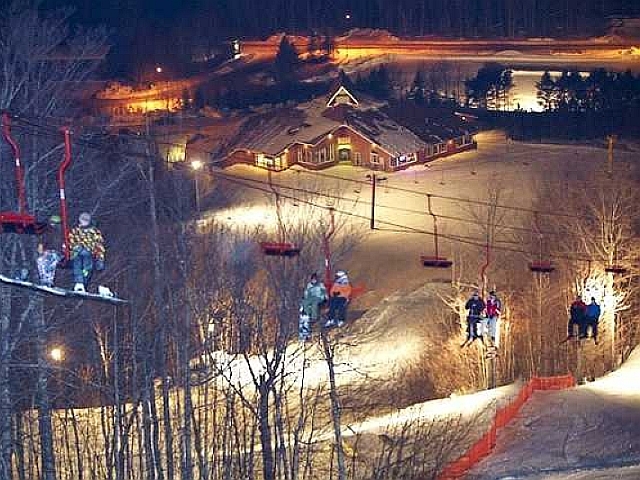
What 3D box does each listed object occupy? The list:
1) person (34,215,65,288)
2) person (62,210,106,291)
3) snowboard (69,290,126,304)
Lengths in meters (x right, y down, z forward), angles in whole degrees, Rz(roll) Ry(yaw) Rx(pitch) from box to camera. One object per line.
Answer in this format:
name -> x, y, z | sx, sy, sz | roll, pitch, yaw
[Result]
person -> -11.075, 0.550, 57.183 | 0.925, 3.335, 0.530 | 2, 15, -10
person -> -8.997, 0.444, 53.785 | 1.201, 3.304, 0.886 | 1, -3, -9
snowboard -> -8.842, 2.273, 56.114 | 2.072, 0.367, 0.581 | 12, -2, -20
